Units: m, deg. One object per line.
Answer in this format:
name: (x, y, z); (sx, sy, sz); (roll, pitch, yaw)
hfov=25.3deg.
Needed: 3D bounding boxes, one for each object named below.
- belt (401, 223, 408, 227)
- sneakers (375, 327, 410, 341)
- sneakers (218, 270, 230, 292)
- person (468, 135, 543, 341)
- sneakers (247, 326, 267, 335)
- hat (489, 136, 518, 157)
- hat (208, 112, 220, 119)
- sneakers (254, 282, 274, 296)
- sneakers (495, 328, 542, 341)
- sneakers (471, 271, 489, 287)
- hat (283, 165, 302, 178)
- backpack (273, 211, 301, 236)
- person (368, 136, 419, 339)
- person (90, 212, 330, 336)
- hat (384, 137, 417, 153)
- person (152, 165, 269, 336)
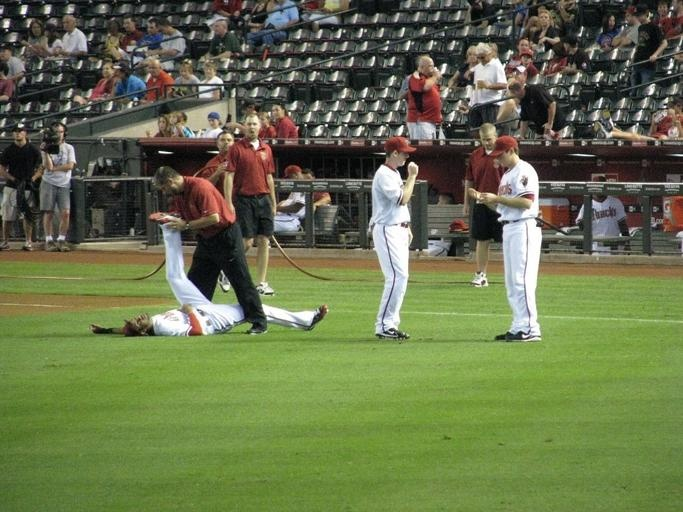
belt: (0.767, -0.388, 18.994); (0.059, 0.013, 0.052); (7, 34, 3)
sneakers: (0.624, 0.976, 18.999); (0.432, 0.154, 0.142); (-1, 1, 5)
sneakers: (-1.645, 0.337, 21.273); (0.137, 0.350, 0.154); (-18, -25, -11)
person: (2.112, -0.210, 18.990); (0.806, 2.521, 0.842); (2, 16, 6)
sneakers: (-1.069, 0.938, 19.275); (0.249, 0.094, 0.095); (3, -4, -17)
hat: (2.010, -1.355, 18.988); (0.306, 0.292, 0.280); (2, 15, 5)
hat: (-2.429, -2.671, 28.859); (0.186, 0.093, 0.241); (1, 1, -1)
sneakers: (-1.145, 0.473, 21.832); (0.147, 0.109, 0.266); (0, -4, -28)
sneakers: (2.186, 0.984, 18.966); (0.388, 0.117, 0.195); (3, -5, -5)
sneakers: (2.074, 0.358, 22.963); (0.152, 0.140, 0.347); (0, -2, 19)
hat: (-0.877, -1.507, 27.336); (0.301, 0.205, 0.369); (0, 14, -3)
backpack: (-0.990, -0.573, 26.741); (0.519, 0.232, 0.749); (1, 0, -9)
person: (0.621, -0.204, 18.984); (0.571, 2.517, 0.670); (0, 15, 1)
person: (-1.571, 0.309, 19.400); (3.380, 1.445, 0.780); (-2, 3, -33)
hat: (0.765, -1.348, 18.971); (0.450, 0.189, 0.265); (4, 11, -7)
person: (-1.655, -0.081, 19.190); (1.407, 2.114, 0.580); (-1, 16, -4)
